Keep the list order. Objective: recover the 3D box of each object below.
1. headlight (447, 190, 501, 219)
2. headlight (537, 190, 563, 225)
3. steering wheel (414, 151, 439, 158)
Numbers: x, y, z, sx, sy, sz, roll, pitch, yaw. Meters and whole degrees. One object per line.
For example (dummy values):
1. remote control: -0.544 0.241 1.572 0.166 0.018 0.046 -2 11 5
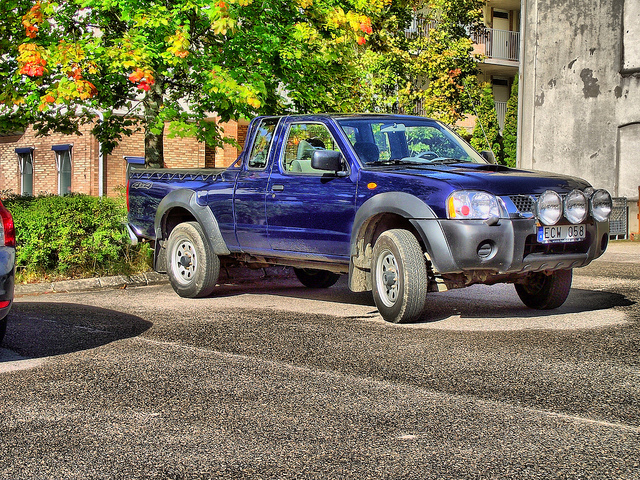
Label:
1. headlight: 1.699 -0.378 6.071 0.434 0.190 0.325 3 0 -15
2. headlight: 2.568 -0.364 6.204 0.353 0.371 0.106 -2 4 -27
3. steering wheel: 1.448 -1.171 7.536 0.374 0.098 0.196 -1 3 -15
